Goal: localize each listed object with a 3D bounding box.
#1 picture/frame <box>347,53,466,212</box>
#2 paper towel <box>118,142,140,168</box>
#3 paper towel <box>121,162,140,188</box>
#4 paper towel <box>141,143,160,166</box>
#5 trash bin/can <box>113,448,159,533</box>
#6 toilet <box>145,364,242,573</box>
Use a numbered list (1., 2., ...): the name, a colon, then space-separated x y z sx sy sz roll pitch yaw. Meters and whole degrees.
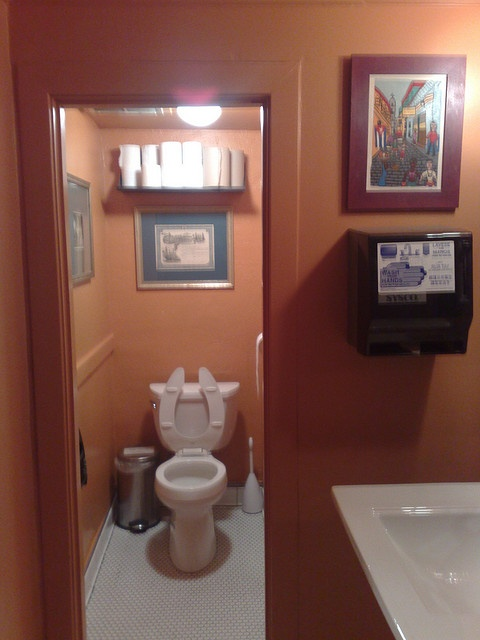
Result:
1. picture/frame: 0.393 -0.451 1.229 0.244 0.379 0.028 13 51 26
2. paper towel: -0.520 -0.779 2.433 0.075 0.106 0.096 16 23 37
3. paper towel: -0.524 -0.690 2.458 0.092 0.125 0.079 0 4 -29
4. paper towel: -0.423 -0.785 2.438 0.065 0.102 0.095 -1 11 -14
5. trash bin/can: -0.497 0.828 2.612 0.203 0.442 0.353 1 20 -6
6. toilet: -0.232 0.688 2.478 0.336 0.871 0.580 -1 9 -1
